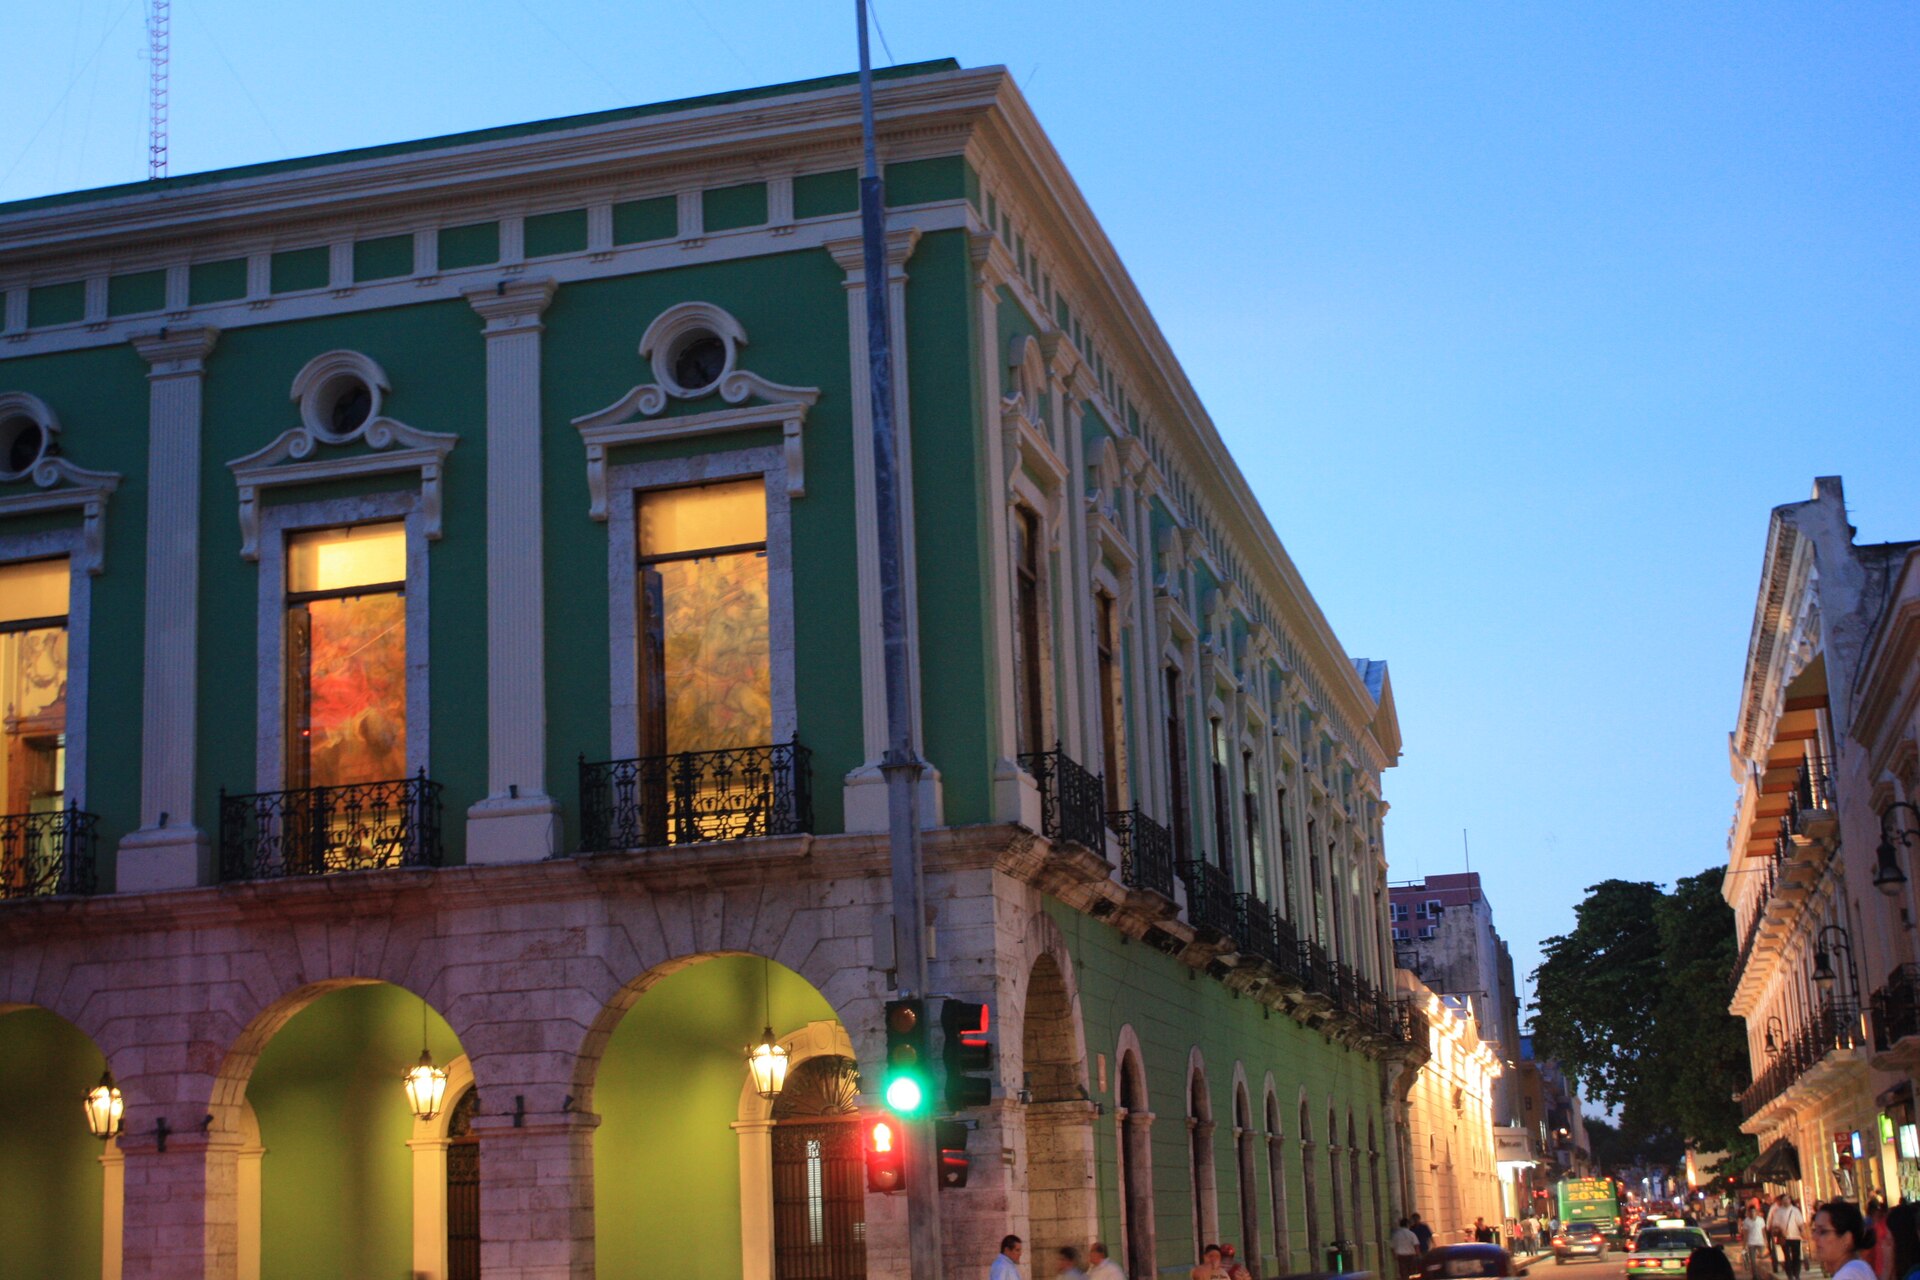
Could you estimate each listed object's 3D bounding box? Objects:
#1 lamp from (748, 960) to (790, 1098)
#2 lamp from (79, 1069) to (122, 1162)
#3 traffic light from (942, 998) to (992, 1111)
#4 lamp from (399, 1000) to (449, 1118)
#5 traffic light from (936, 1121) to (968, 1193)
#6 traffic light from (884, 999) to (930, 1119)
[{"bbox_3d":[-2.780,5.596,32.794,0.580,2.047,1.617,-2,-24,-5],"label":"lamp"},{"bbox_3d":[-11.986,6.581,31.943,0.556,1.379,2.103,5,-26,-20],"label":"lamp"},{"bbox_3d":[0.049,4.835,26.301,0.535,1.229,0.840,-3,-24,-3],"label":"traffic light"},{"bbox_3d":[-7.778,6.139,33.144,0.617,1.687,1.416,2,-25,-13],"label":"lamp"},{"bbox_3d":[-0.101,5.921,26.158,0.370,0.686,0.338,3,-24,-15],"label":"traffic light"},{"bbox_3d":[-0.621,4.733,25.707,0.532,1.262,0.425,-3,-23,-2],"label":"traffic light"}]
